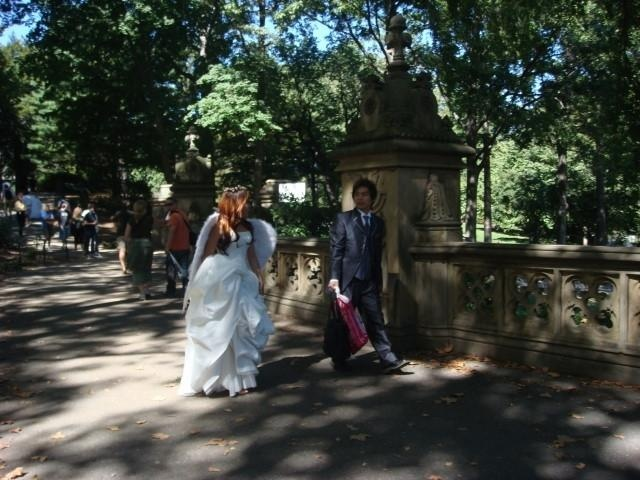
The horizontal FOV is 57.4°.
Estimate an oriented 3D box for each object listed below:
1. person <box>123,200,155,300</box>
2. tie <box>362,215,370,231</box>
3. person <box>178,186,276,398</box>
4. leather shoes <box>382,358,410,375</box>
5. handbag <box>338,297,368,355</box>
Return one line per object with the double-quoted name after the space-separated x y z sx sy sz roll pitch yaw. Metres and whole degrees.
-3.684 0.224 11.973 0.562 2.056 0.537 -3 6 -19 "person"
0.554 -0.207 7.063 0.083 0.153 0.035 2 -14 -10 "tie"
-1.077 0.560 6.737 1.239 2.308 0.868 -5 7 -28 "person"
0.921 1.507 6.907 0.370 0.153 0.136 -12 -33 23 "leather shoes"
0.380 0.998 6.919 0.361 0.721 0.209 -1 6 5 "handbag"
